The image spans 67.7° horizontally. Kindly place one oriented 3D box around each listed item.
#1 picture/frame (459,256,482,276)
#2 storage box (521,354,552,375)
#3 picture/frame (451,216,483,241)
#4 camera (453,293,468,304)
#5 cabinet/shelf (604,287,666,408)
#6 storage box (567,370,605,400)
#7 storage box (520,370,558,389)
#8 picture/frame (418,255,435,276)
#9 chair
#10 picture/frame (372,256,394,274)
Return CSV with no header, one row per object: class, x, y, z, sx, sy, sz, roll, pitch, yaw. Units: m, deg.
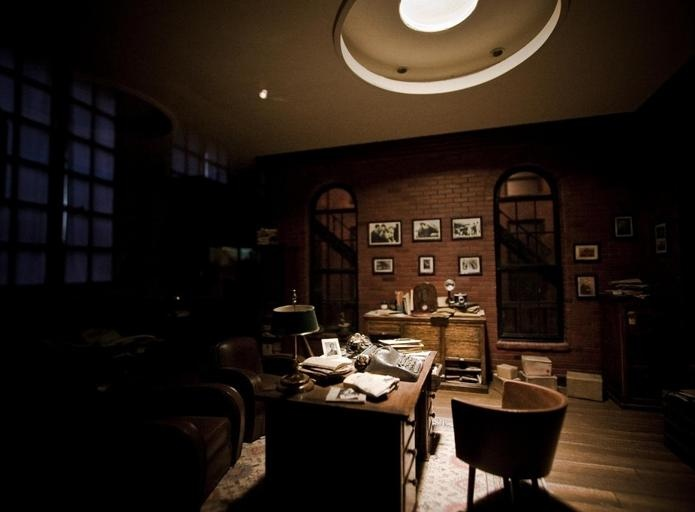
picture/frame,1.829,0.138,7.611,0.269,0.259,0.032,0,-6,14
storage box,2.593,1.421,7.083,0.288,0.198,0.299,-1,-2,19
picture/frame,1.793,-0.418,7.652,0.338,0.308,0.028,0,-6,15
camera,1.653,0.597,7.488,0.119,0.116,0.160,2,-6,-21
cabinet/shelf,3.648,1.156,6.696,0.708,1.482,0.383,-5,-7,42
storage box,3.156,1.712,6.860,0.517,0.397,0.289,-1,-1,31
storage box,2.566,1.624,6.879,0.281,0.195,0.295,0,-4,6
picture/frame,1.206,0.136,7.798,0.287,0.367,0.033,1,-4,14
chair,1.687,1.594,5.395,1.079,1.430,1.314,-3,-9,36
picture/frame,0.567,0.130,7.997,0.242,0.222,0.021,0,-9,16
